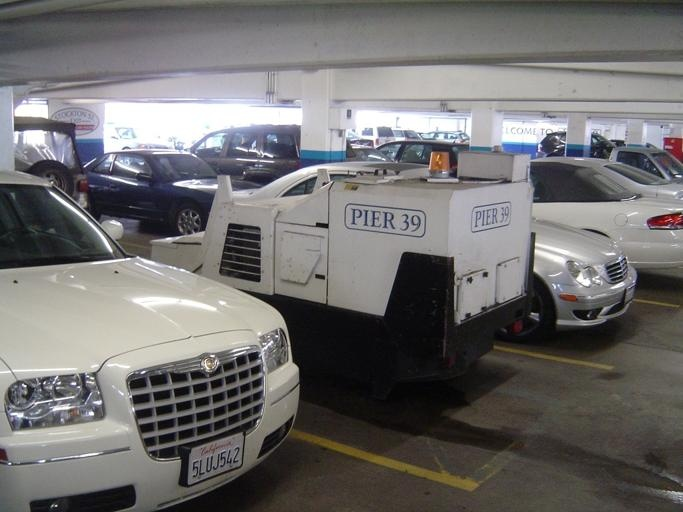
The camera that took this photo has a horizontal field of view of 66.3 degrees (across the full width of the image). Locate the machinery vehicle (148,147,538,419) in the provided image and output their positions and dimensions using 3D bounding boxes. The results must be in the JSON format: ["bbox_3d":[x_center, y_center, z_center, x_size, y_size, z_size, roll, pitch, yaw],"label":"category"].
[{"bbox_3d":[0.046,-0.052,5.423,3.261,2.054,1.832,6,12,34],"label":"machinery vehicle"}]
